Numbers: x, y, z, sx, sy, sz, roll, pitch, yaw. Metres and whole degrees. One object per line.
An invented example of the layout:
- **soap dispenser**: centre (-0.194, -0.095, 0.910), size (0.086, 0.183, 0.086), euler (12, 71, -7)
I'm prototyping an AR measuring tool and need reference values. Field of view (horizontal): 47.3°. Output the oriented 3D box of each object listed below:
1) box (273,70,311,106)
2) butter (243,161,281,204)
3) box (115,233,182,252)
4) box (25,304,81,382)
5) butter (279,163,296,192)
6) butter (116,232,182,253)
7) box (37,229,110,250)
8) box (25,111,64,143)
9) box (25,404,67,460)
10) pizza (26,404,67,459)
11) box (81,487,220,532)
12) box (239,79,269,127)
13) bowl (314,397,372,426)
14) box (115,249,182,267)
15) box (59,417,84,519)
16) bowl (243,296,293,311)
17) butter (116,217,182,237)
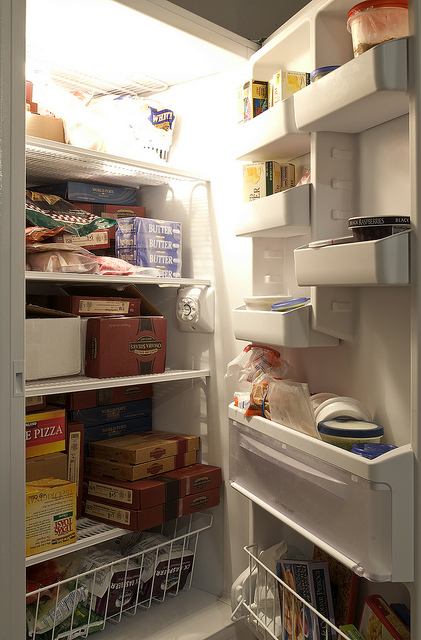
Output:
- **box**: centre (0.165, -0.473, 1.025), size (0.062, 0.088, 0.081), euler (-15, 20, -40)
- **butter**: centre (0.118, -0.326, 1.133), size (0.097, 0.090, 0.039), euler (4, 8, 42)
- **box**: centre (-0.202, -0.239, 1.483), size (0.121, 0.063, 0.064), euler (-2, 2, -43)
- **box**: centre (-0.393, 0.048, 1.196), size (0.221, 0.167, 0.202), euler (0, 1, 18)
- **butter**: centre (0.185, -0.343, 1.146), size (0.035, 0.074, 0.084), euler (-1, 7, 11)
- **butter**: centre (-0.182, -0.249, 1.489), size (0.107, 0.067, 0.125), euler (9, 15, 35)
- **box**: centre (-0.357, -0.227, 1.343), size (0.037, 0.054, 0.194), euler (1, 8, 29)
- **box**: centre (-0.413, -0.479, 1.196), size (0.085, 0.057, 0.084), euler (-5, 23, -41)
- **box**: centre (-0.413, 0.267, 1.197), size (0.108, 0.087, 0.108), euler (0, 0, -43)
- **pizza**: centre (-0.403, 0.271, 1.189), size (0.098, 0.078, 0.097), euler (0, 0, -41)
- **box**: centre (-0.173, 0.464, 1.398), size (0.307, 0.166, 0.242), euler (0, 0, 39)
- **box**: centre (0.102, -0.520, 1.155), size (0.047, 0.091, 0.089), euler (-6, 9, -19)
- **bowl**: centre (0.241, 0.156, 0.844), size (0.061, 0.016, 0.064), euler (5, 22, -2)
- **box**: centre (-0.204, -0.189, 1.489), size (0.104, 0.040, 0.075), euler (0, 2, -44)
- **box**: centre (-0.374, 0.407, 1.307), size (0.071, 0.232, 0.034), euler (8, 9, 6)
- **bowl**: centre (0.125, -0.038, 1.097), size (0.039, 0.034, 0.130), euler (-9, 10, -44)
- **butter**: centre (-0.187, -0.285, 1.482), size (0.100, 0.027, 0.093), euler (1, 1, 42)
